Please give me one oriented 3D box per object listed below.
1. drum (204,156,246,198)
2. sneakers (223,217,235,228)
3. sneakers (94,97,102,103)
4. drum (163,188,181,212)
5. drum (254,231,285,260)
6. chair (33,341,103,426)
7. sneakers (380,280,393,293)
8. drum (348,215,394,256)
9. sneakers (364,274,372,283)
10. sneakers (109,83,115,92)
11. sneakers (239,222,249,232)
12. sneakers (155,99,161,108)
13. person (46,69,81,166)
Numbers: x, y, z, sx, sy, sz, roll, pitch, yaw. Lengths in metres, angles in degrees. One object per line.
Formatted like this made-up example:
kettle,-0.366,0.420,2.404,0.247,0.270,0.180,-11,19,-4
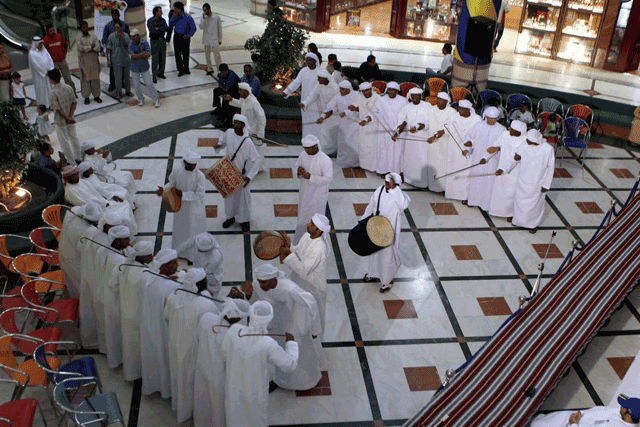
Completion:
drum,-1.458,-0.555,8.006,0.584,0.588,0.591,44,3,-7
sneakers,-1.577,0.158,8.523,0.207,0.197,0.100,-36,87,-20
sneakers,-5.179,-2.647,11.492,0.177,0.091,0.123,13,-4,-14
drum,-2.226,-0.180,7.441,0.263,0.410,0.298,-3,27,-15
drum,-0.693,0.433,6.694,0.385,0.399,0.267,22,13,-16
chair,-2.946,2.008,5.719,0.566,0.805,0.520,-11,59,-20
sneakers,1.007,1.137,7.539,0.273,0.111,0.093,-37,61,-16
drum,0.758,0.336,7.155,0.352,0.370,0.521,40,-5,-1
sneakers,0.733,1.009,7.666,0.060,0.074,0.183,-10,37,-8
sneakers,-5.087,-3.096,12.028,0.107,0.110,0.261,-4,54,-12
sneakers,-1.289,0.229,8.425,0.148,0.146,0.104,-6,1,3
sneakers,-3.768,-2.544,11.437,0.074,0.089,0.210,-6,45,-13
person,-4.918,-1.827,9.406,0.641,1.758,0.542,8,32,-3
